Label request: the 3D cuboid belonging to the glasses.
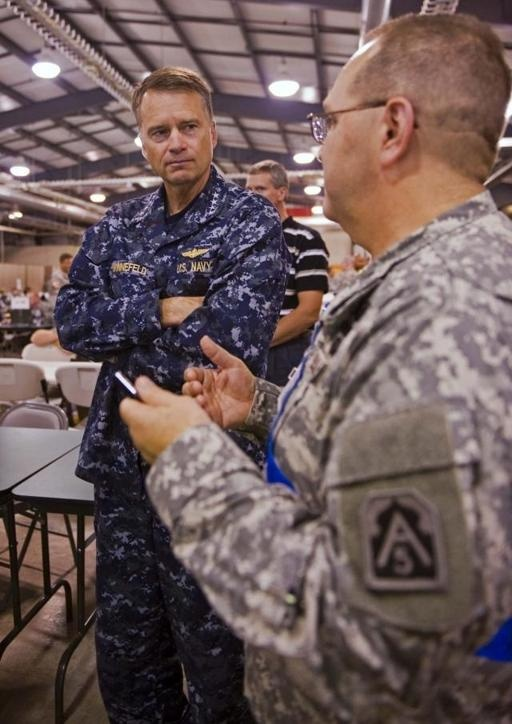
[{"bbox_3d":[0.141,-0.337,0.853,0.123,0.032,0.112,-5,13,11],"label":"glasses"}]
